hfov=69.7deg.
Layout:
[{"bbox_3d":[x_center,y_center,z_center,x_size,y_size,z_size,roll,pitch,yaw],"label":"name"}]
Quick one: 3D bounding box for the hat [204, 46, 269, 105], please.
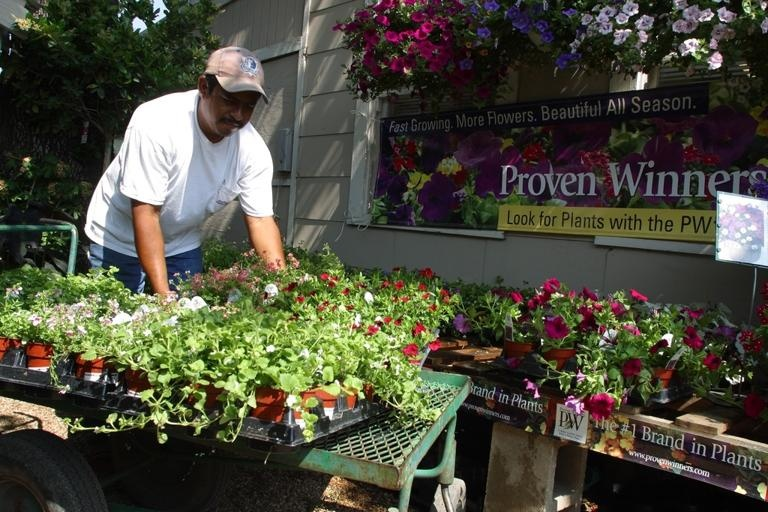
[{"bbox_3d":[-0.930,-1.124,3.414,0.372,0.201,0.254,30,15,33],"label":"hat"}]
